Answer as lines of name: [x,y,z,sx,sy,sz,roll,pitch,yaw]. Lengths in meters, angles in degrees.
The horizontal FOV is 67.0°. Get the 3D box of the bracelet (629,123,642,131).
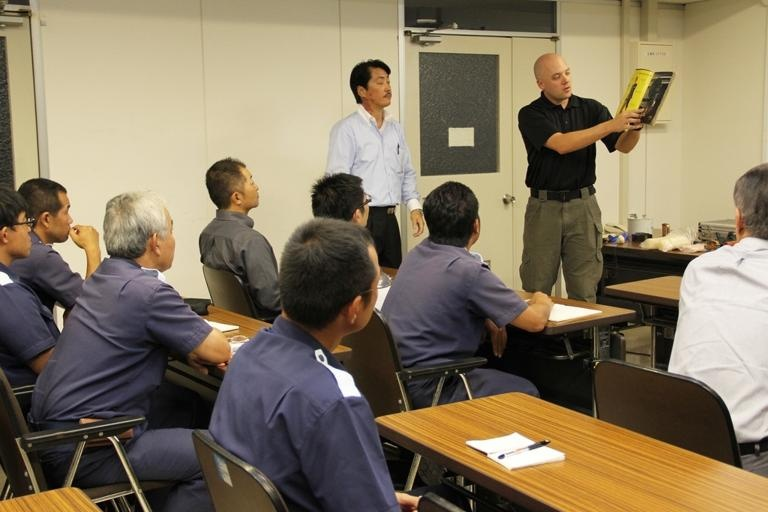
bracelet: [1.797,-0.940,4.196,0.085,0.086,0.052,-12,19,-41]

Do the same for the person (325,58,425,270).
person: [-0.049,-0.432,5.150,0.764,2.478,0.496,-4,9,-21]

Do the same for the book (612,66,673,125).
book: [1.850,-1.115,4.133,0.097,0.410,0.400,10,13,-34]
